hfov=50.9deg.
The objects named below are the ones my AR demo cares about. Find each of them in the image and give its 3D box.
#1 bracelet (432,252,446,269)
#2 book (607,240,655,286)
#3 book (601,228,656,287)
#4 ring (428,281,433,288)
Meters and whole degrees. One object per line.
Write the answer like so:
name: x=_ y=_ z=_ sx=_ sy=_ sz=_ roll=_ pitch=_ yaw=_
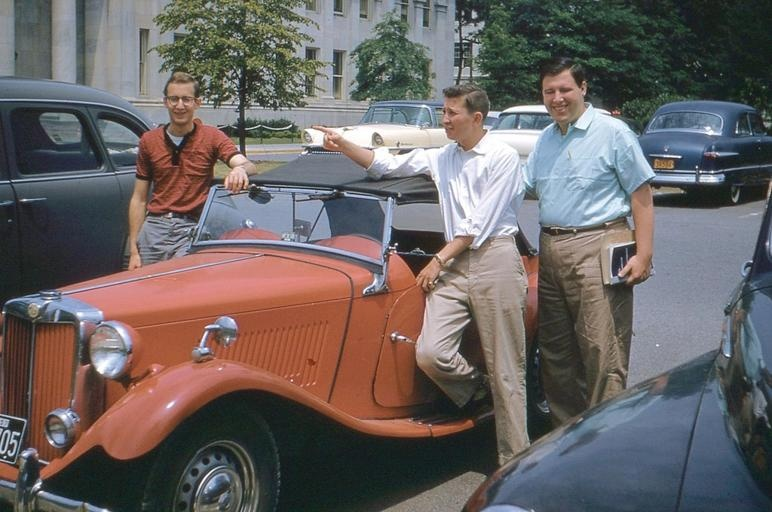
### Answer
bracelet: x=0.402 y=0.040 z=5.851 sx=0.037 sy=0.095 sz=0.077 roll=-44 pitch=23 yaw=-8
book: x=1.750 y=0.045 z=5.823 sx=0.275 sy=0.287 sz=0.266 roll=-5 pitch=-7 yaw=-8
book: x=1.762 y=0.001 z=5.909 sx=0.338 sy=0.363 sz=0.126 roll=-11 pitch=4 yaw=-24
ring: x=0.335 y=0.205 z=5.885 sx=0.024 sy=0.038 sz=0.014 roll=1 pitch=26 yaw=-3
